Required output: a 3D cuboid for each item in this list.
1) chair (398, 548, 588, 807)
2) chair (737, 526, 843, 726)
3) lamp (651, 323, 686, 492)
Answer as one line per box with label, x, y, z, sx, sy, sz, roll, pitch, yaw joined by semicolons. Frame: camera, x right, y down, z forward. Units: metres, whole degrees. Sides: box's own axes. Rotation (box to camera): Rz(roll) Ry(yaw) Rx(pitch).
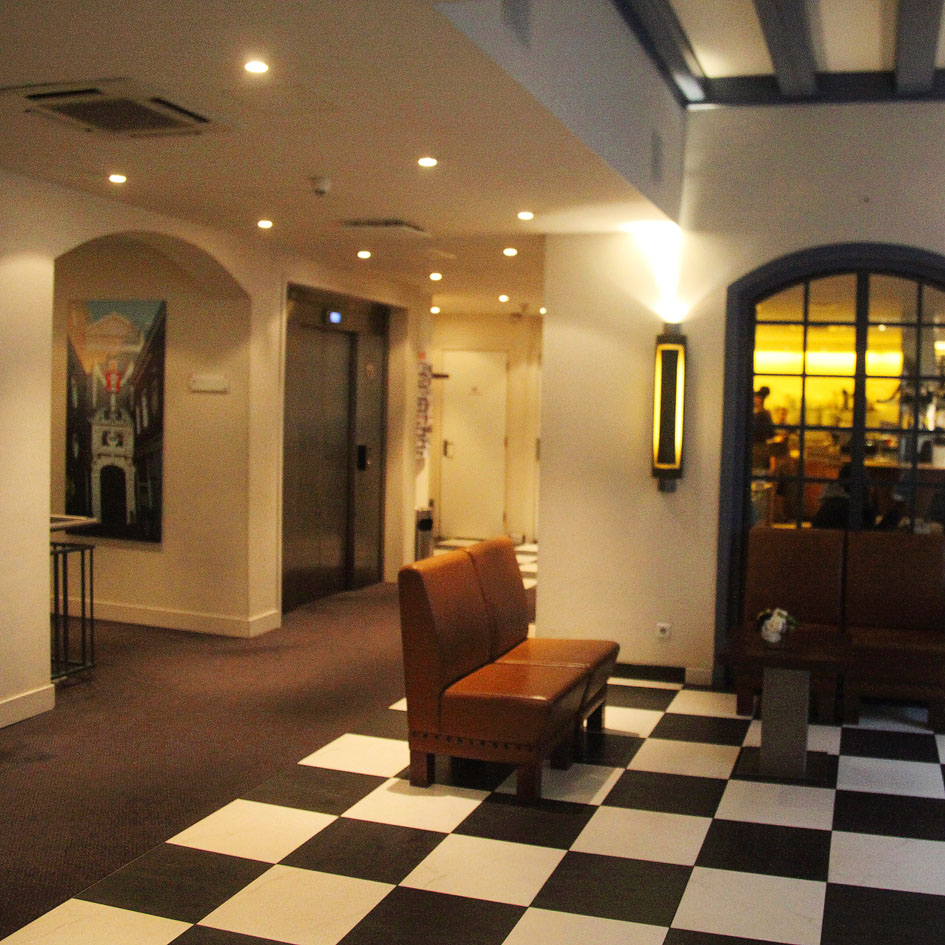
chair;0.215;0.885;4.316;0.687;1.060;1.272;-4;-1;27
chair;1.785;0.907;4.915;0.593;1.066;1.787;1;2;24
lamp;1.302;-0.420;5.732;0.196;1.237;0.119;6;34;19
